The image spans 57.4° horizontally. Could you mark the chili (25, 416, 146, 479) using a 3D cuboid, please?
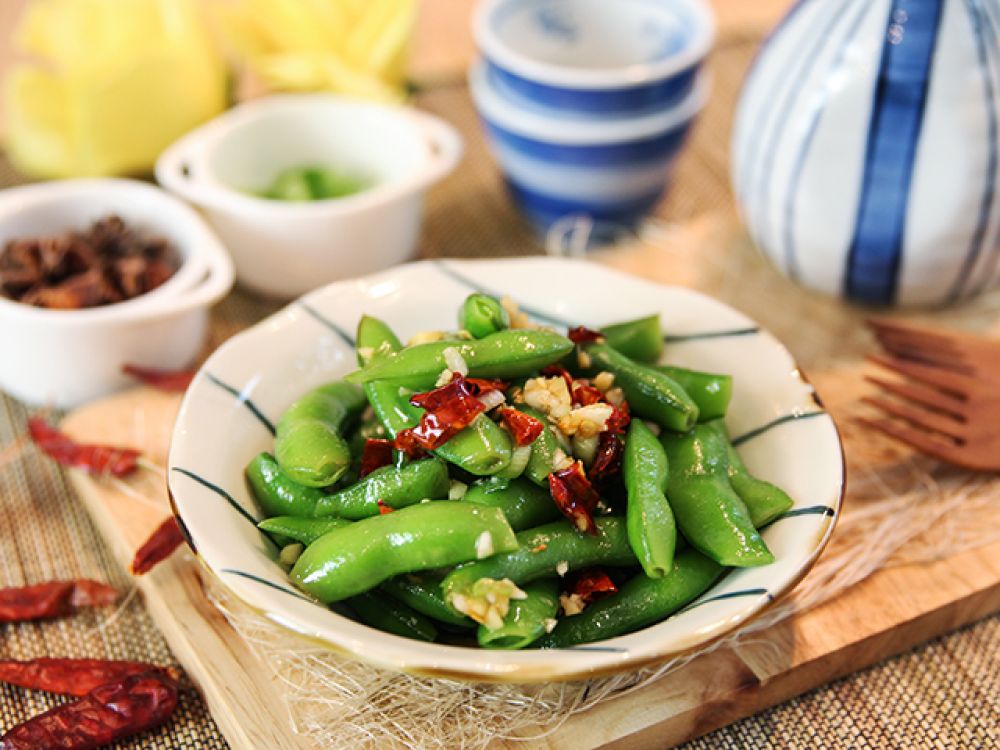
[{"bbox_3d":[-0.680,0.125,1.446,0.136,0.032,0.101,15,45,15],"label":"chili"}]

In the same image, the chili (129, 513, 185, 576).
[{"bbox_3d":[-0.515,0.257,1.368,0.022,0.062,0.117,-10,28,24],"label":"chili"}]

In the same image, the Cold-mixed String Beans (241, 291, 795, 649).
[{"bbox_3d":[0.022,0.193,1.316,0.573,0.250,0.563,-1,39,9],"label":"Cold-mixed String Beans"}]
